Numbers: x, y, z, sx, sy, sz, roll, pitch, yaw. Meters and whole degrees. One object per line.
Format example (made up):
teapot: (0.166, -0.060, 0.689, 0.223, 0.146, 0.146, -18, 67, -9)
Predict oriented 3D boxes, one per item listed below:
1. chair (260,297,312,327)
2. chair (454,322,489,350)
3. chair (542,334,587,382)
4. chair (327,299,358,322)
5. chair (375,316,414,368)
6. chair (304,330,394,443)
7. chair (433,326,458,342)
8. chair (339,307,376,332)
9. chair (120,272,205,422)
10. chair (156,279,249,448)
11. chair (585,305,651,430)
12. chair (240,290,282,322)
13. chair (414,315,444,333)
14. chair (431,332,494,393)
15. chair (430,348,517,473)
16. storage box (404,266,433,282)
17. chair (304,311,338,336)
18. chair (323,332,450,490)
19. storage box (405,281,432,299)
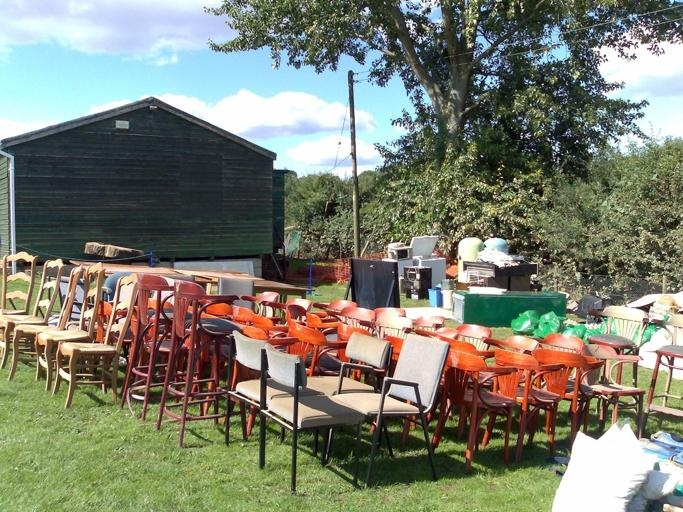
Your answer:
chair: (-0.678, 0.705, 7.570, 0.427, 0.605, 0.448, 6, -5, -43)
chair: (1.565, 0.950, 6.953, 0.367, 0.477, 0.336, -2, -11, 19)
chair: (2.376, 1.098, 6.224, 0.448, 0.227, 0.597, 8, 3, 2)
chair: (-0.008, 0.732, 7.888, 0.271, 0.389, 0.272, 1, -8, 2)
chair: (0.598, 0.976, 6.809, 0.479, 0.678, 0.478, 0, -11, 15)
chair: (0.071, 1.265, 5.777, 0.713, 0.942, 0.769, 9, -3, 25)
chair: (1.214, 0.904, 6.737, 0.167, 0.247, 0.172, 1, -3, 25)
chair: (0.210, 0.803, 7.471, 0.305, 0.471, 0.332, 5, -14, 5)
chair: (-1.928, 1.098, 7.070, 0.897, 1.697, 0.893, 13, 7, 8)
chair: (-1.502, 1.150, 6.408, 0.988, 1.612, 1.028, 4, -1, 2)
chair: (3.596, 1.460, 7.526, 0.632, 1.452, 0.690, 2, 17, -30)
chair: (-1.015, 0.669, 8.005, 0.404, 0.546, 0.378, -1, -3, 40)
chair: (1.112, 0.858, 7.390, 0.259, 0.371, 0.261, -1, -10, 20)
chair: (1.218, 0.958, 6.113, 0.513, 0.762, 0.582, -7, 13, -33)
chair: (1.387, 1.577, 6.084, 0.738, 1.103, 0.833, 4, -3, 2)
storage box: (2.482, 0.582, 19.214, 0.786, 0.464, 0.512, 5, 2, 34)
chair: (-0.195, 0.789, 6.657, 0.338, 0.320, 0.266, 1, 4, -26)
chair: (0.416, 1.379, 5.620, 1.049, 1.268, 0.997, 5, -2, -17)
storage box: (2.509, 1.126, 19.256, 0.542, 0.361, 0.535, -1, 3, -43)
